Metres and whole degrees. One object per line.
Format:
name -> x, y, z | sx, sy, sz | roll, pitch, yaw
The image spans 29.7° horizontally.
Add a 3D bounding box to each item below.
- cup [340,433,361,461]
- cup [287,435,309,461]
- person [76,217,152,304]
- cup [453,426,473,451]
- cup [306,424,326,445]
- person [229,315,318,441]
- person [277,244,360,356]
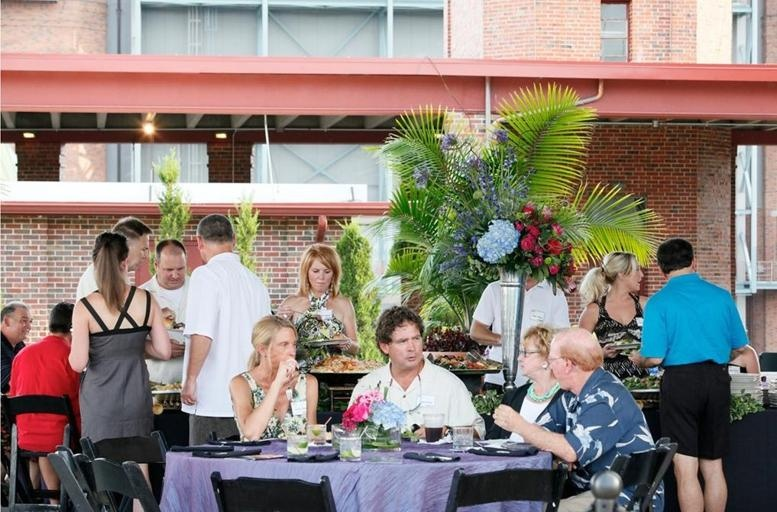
cup -> -0.421, 2.151, 16.397 | 0.229, 0.269, 0.252 | 0, -5, 0
cup -> -1.019, 2.120, 16.329 | 0.224, 0.259, 0.247 | 2, -6, -14
person -> -3.429, 0.187, 18.690 | 0.869, 1.275, 1.495 | -2, 0, -7
cup -> 0.822, 2.041, 16.543 | 0.228, 0.239, 0.243 | 0, -8, 0
cup -> -0.822, 2.025, 16.583 | 0.214, 0.217, 0.203 | -1, -1, 0
person -> -1.330, 1.390, 16.895 | 0.993, 1.413, 0.441 | -2, -2, -6
person -> -0.952, 0.752, 18.797 | 1.149, 1.779, 0.870 | 5, -15, -23
